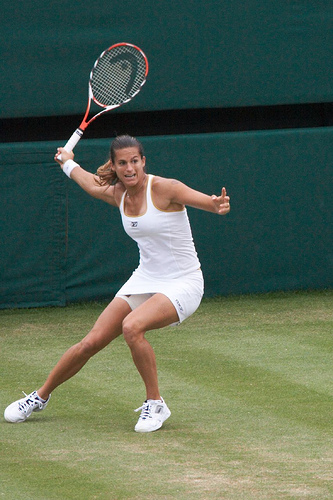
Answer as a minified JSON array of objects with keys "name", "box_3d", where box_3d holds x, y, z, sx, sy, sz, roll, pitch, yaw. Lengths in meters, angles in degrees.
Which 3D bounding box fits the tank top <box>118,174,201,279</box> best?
[{"name":"tank top","box_3d":[-0.014,-0.148,3.163,0.398,0.529,0.381,17,19,22]}]

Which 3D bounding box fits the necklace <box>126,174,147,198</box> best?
[{"name":"necklace","box_3d":[-0.157,-0.312,3.066,0.115,0.141,0.076,2,44,6]}]
